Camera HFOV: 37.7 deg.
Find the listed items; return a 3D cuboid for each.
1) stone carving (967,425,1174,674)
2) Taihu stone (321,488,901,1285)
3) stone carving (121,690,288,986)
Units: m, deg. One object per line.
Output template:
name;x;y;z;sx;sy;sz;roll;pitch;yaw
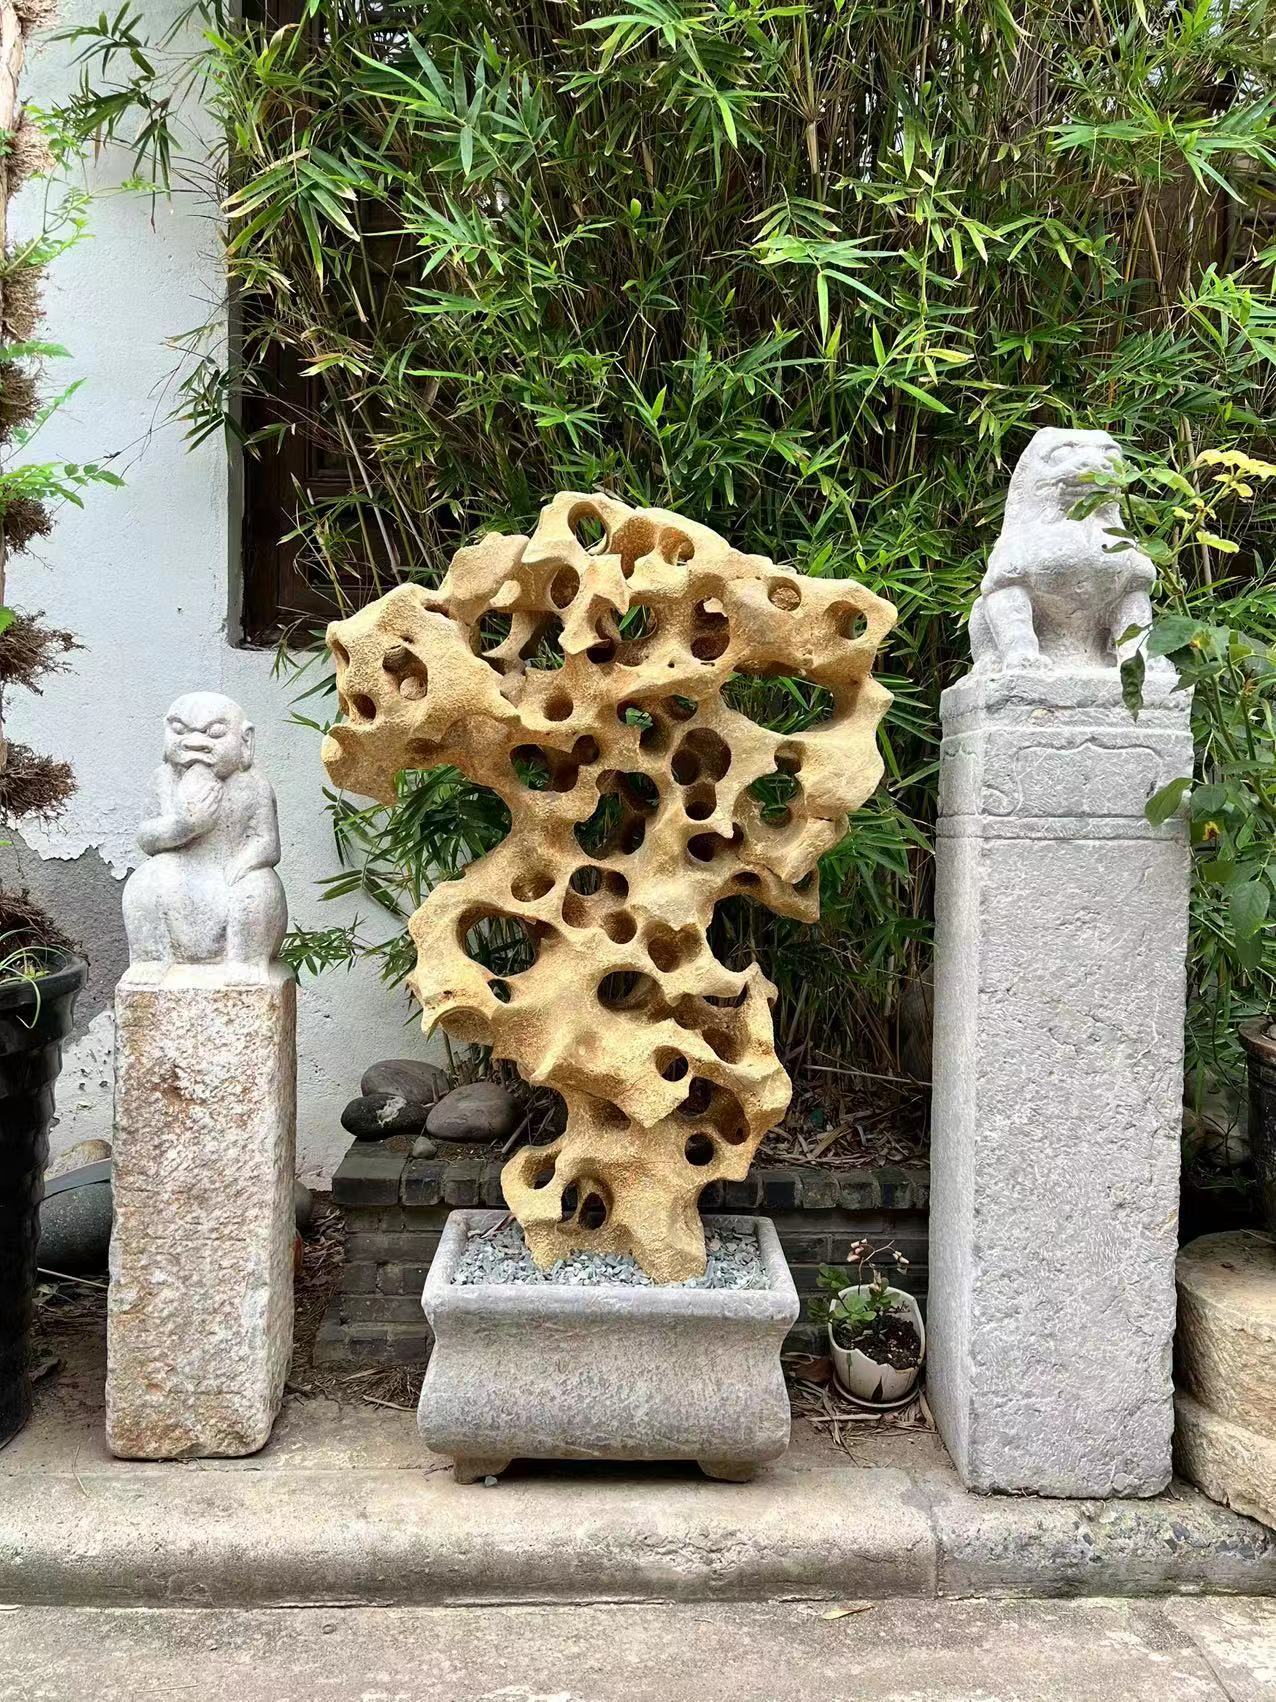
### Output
stone carving;0.734;-0.520;3.238;0.308;0.419;0.308;-2;8;4
Taihu stone;-0.029;0.054;3.266;0.878;1.334;0.428;-7;9;-28
stone carving;-0.777;-0.026;3.323;0.271;0.499;0.221;-4;8;-8
